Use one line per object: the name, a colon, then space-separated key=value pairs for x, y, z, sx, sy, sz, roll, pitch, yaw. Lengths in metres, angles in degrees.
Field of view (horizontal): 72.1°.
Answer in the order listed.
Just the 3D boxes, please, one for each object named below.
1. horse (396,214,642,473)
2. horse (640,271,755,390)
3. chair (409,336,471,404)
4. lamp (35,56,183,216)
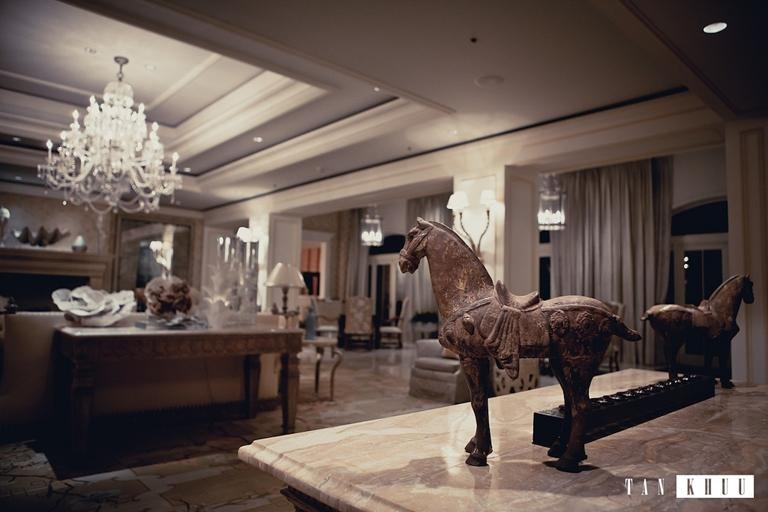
horse: x=0.698 y=0.460 z=2.821 sx=1.323 sy=1.200 sz=0.402 roll=1 pitch=-1 yaw=19
horse: x=2.352 y=0.529 z=3.988 sx=0.840 sy=0.839 sz=0.287 roll=0 pitch=5 yaw=0
chair: x=0.805 y=1.505 z=7.038 sx=0.796 sy=0.816 sz=0.810 roll=-9 pitch=-20 yaw=34
lamp: x=-3.385 y=-1.664 z=6.921 sx=1.464 sy=1.972 sz=1.524 roll=0 pitch=16 yaw=-19
